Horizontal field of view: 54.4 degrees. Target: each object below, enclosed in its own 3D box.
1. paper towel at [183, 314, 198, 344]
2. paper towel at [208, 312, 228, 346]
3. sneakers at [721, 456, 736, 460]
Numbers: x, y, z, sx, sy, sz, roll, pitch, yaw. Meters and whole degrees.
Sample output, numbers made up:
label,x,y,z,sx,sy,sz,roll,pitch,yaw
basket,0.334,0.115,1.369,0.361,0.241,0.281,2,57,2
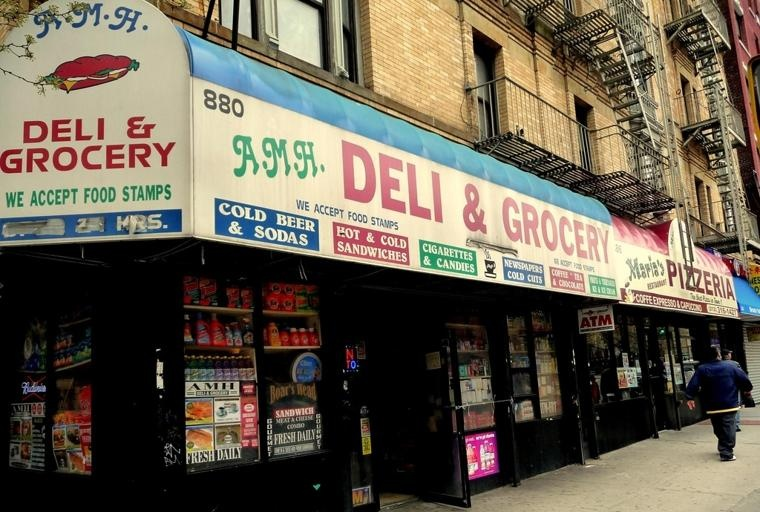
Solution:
label,x,y,z,sx,sy,sz,roll,pitch,yaw
paper towel,-2.747,1.045,10.744,0.045,0.429,0.192,-15,-18,36
paper towel,-2.398,1.069,11.015,0.233,0.503,0.156,-7,23,-11
sneakers,6.870,3.979,14.563,0.263,0.114,0.103,1,-6,8
